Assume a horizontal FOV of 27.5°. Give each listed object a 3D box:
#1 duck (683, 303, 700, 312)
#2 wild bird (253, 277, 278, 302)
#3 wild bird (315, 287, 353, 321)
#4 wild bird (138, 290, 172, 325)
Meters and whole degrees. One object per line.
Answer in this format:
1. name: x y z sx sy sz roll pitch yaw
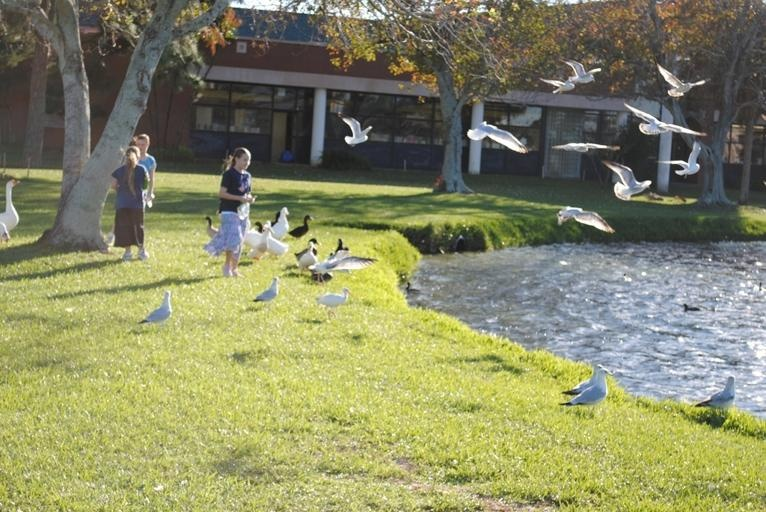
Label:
1. duck: 11.379 1.992 58.201 0.762 0.255 0.340 3 -4 35
2. wild bird: -4.081 1.194 54.291 0.809 0.898 0.840 3 4 -5
3. wild bird: -1.798 1.611 54.477 1.016 1.086 1.503 3 4 1
4. wild bird: -7.561 1.737 52.570 0.898 1.149 1.175 3 4 4
